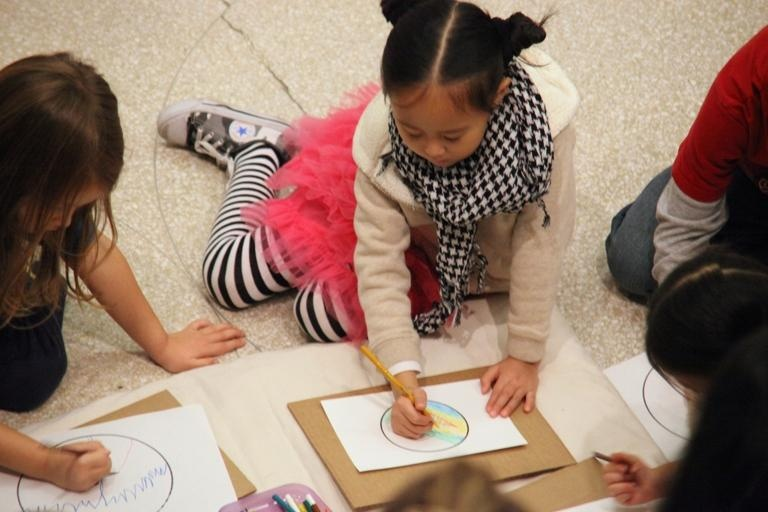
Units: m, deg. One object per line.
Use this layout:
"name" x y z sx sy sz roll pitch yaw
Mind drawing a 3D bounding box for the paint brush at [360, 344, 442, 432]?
"paint brush" 0.032 0.276 1.329 0.025 0.027 0.187 -21 67 -46

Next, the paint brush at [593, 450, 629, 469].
"paint brush" 0.429 0.390 1.246 0.088 0.013 0.016 10 84 49

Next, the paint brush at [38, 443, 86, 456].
"paint brush" -0.571 0.344 1.156 0.076 0.018 0.017 8 55 8
